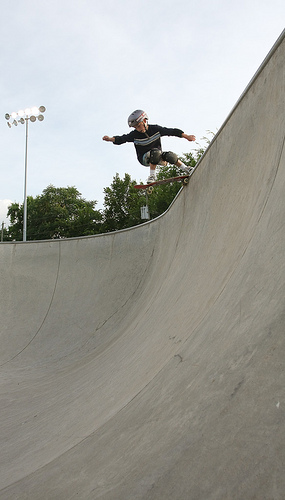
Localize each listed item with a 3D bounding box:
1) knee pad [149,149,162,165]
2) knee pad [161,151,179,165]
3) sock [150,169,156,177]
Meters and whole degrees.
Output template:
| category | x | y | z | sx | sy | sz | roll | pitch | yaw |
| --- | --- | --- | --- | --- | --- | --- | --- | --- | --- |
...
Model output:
| category | x | y | z | sx | sy | sz | roll | pitch | yaw |
| --- | --- | --- | --- | --- | --- | --- | --- | --- | --- |
| knee pad | 0.178 | -1.369 | 6.551 | 0.139 | 0.211 | 0.200 | 9 | 4 | -2 |
| knee pad | 0.391 | -1.338 | 6.483 | 0.269 | 0.160 | 0.244 | -5 | -2 | 23 |
| sock | 0.154 | -1.171 | 6.754 | 0.061 | 0.115 | 0.071 | 4 | 2 | 30 |
